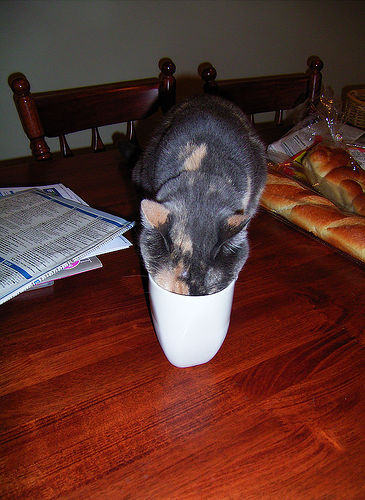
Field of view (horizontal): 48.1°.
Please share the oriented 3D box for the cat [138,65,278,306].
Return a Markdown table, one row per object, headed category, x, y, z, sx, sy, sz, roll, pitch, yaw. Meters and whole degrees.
| category | x | y | z | sx | sy | sz | roll | pitch | yaw |
| --- | --- | --- | --- | --- | --- | --- | --- | --- | --- |
| cat | 0.030 | -0.205 | 0.971 | 0.270 | 0.338 | 0.664 | 6 | 64 | -6 |
